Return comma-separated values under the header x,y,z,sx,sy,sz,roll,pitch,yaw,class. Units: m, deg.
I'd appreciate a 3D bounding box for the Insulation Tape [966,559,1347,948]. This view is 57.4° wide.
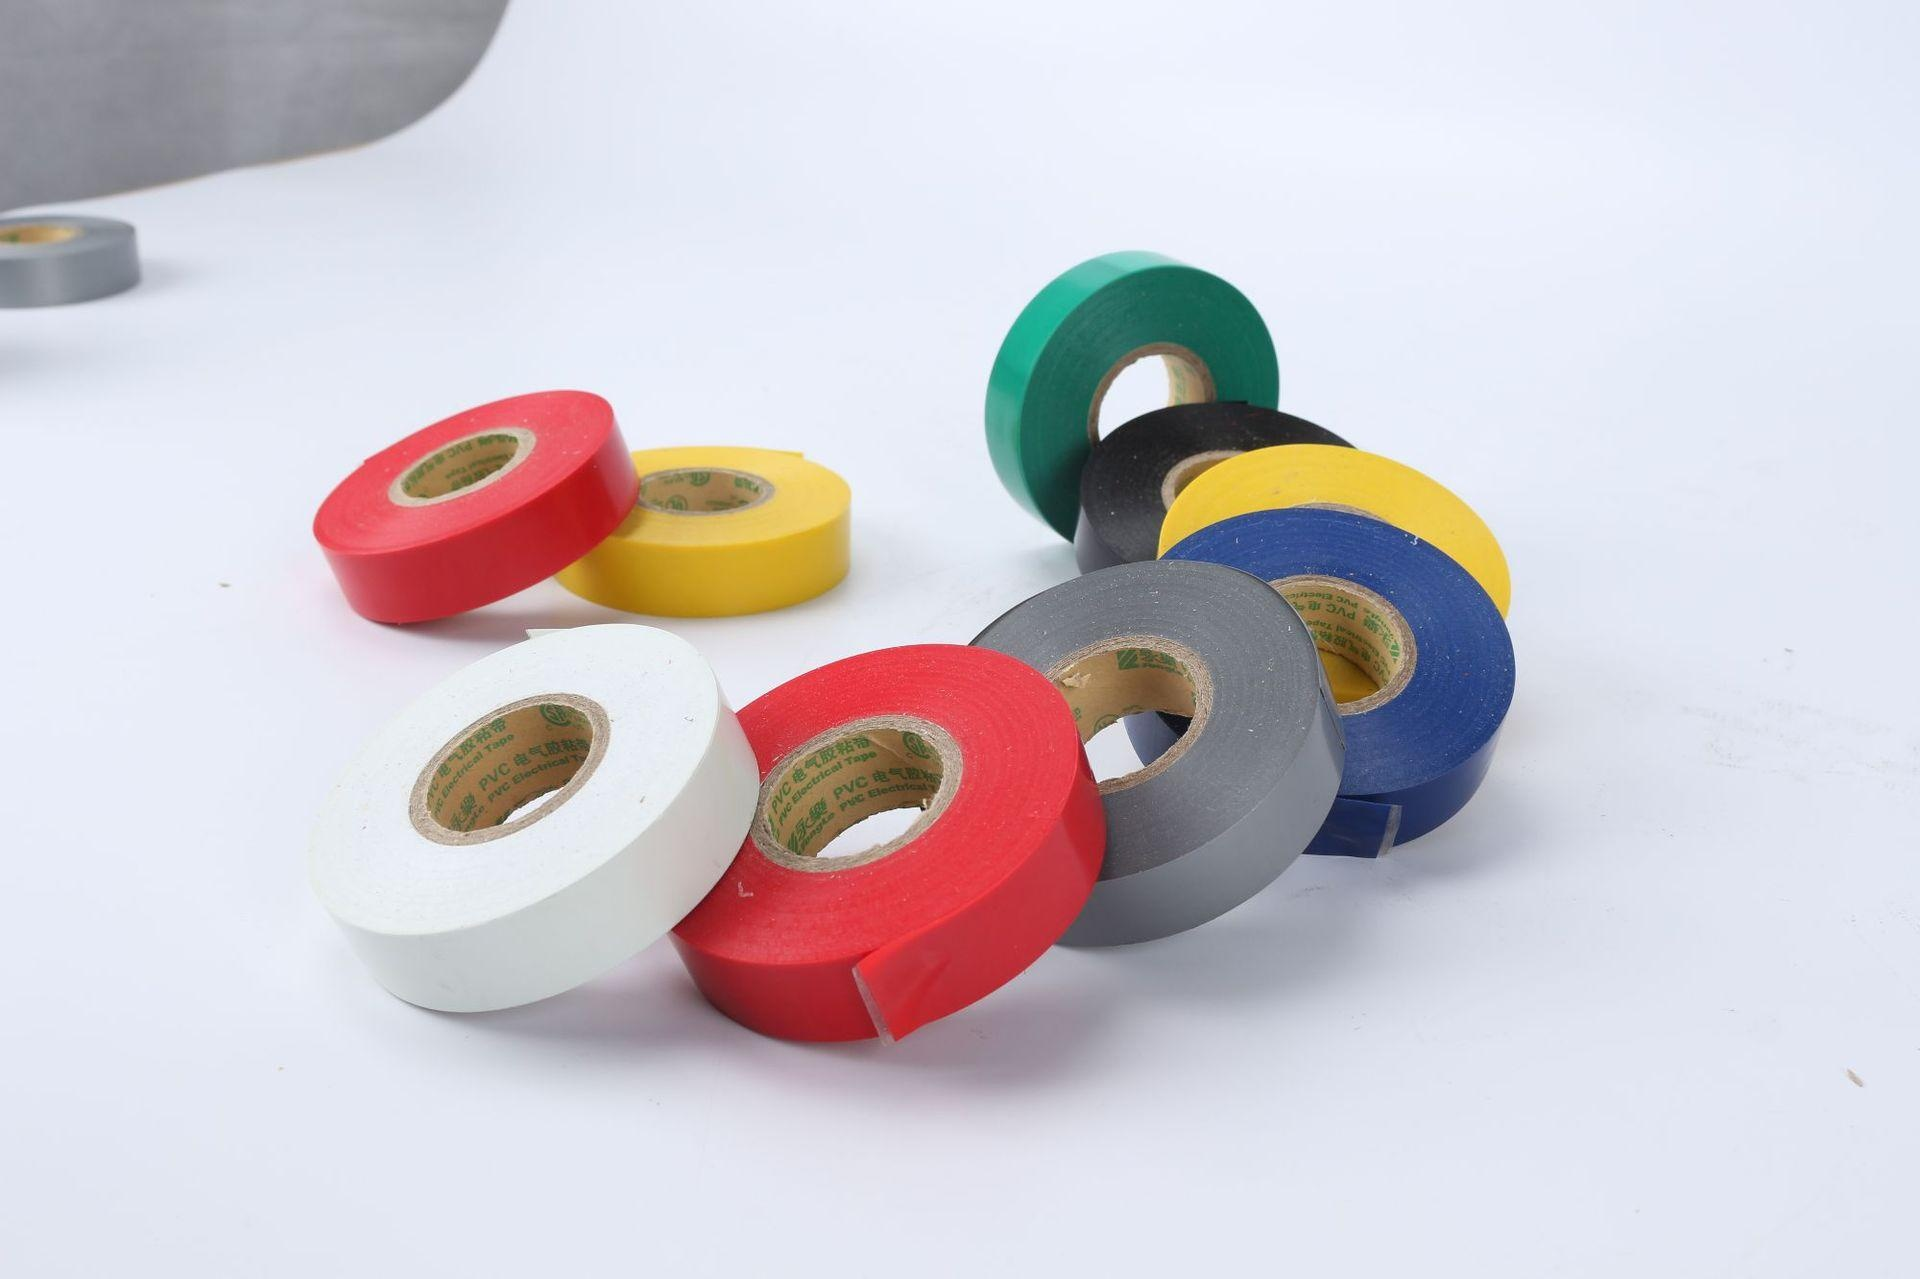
x,y,z,sx,sy,sz,roll,pitch,yaw,class
0.310,0.160,3.018,0.677,0.179,0.693,21,64,42,Insulation Tape
